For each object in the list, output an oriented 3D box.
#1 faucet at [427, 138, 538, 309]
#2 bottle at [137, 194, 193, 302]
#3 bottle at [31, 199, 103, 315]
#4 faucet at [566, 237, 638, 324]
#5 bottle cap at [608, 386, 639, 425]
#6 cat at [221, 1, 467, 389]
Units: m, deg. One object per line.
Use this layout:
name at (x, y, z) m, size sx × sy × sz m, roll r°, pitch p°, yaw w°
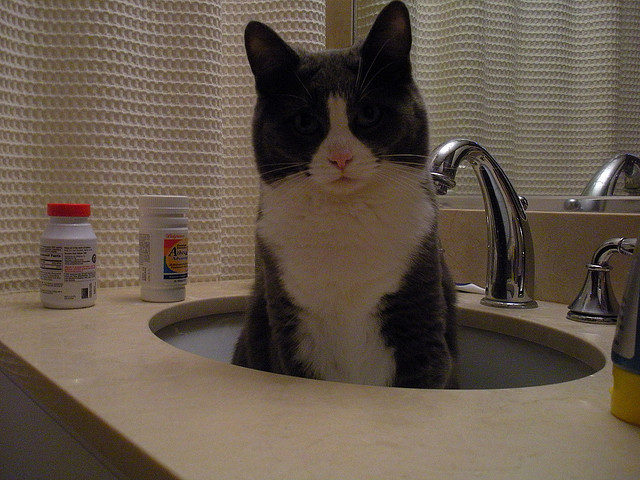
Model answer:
faucet at (0.270, -0.026, 0.940) m, size 0.210 × 0.273 × 0.090 m, roll 4°, pitch -7°, yaw -21°
bottle at (-0.288, 0.015, 1.030) m, size 0.080 × 0.191 × 0.057 m, roll 3°, pitch 8°, yaw 25°
bottle at (-0.455, 0.020, 1.020) m, size 0.131 × 0.179 × 0.226 m, roll -4°, pitch 8°, yaw -28°
faucet at (0.431, 0.060, 0.860) m, size 0.101 × 0.122 × 0.105 m, roll 0°, pitch 10°, yaw -20°
bottle cap at (0.318, 0.168, 0.601) m, size 0.021 × 0.032 × 0.068 m, roll 1°, pitch 7°, yaw 13°
cat at (0.027, -0.052, 0.728) m, size 0.308 × 0.474 × 0.169 m, roll 0°, pitch 7°, yaw -2°
